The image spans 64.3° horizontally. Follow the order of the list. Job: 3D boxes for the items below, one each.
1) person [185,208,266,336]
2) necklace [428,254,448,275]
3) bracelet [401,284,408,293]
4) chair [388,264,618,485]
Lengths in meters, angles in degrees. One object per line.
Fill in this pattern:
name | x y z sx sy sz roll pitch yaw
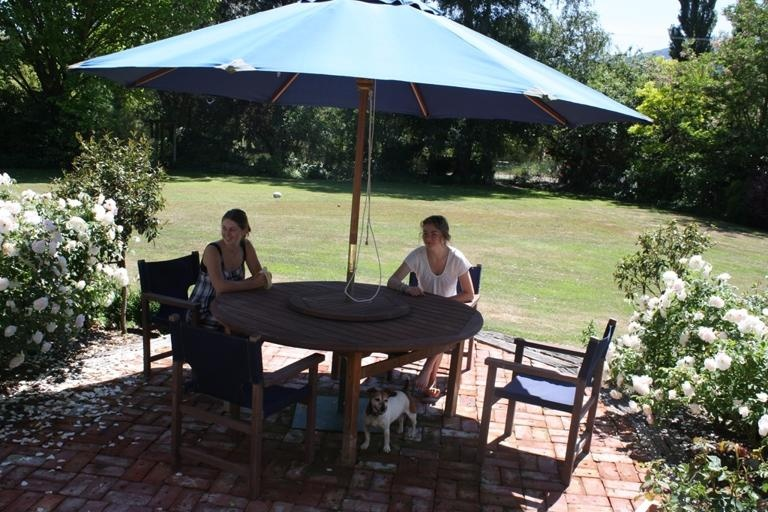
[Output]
person | -1.661 0.147 6.558 0.774 1.305 0.851 2 13 -17
necklace | 0.601 0.085 6.844 0.156 0.260 0.055 0 12 7
bracelet | 0.221 0.343 6.611 0.018 0.075 0.068 0 6 -35
chair | 1.352 1.451 5.965 1.335 2.169 1.304 11 6 19
